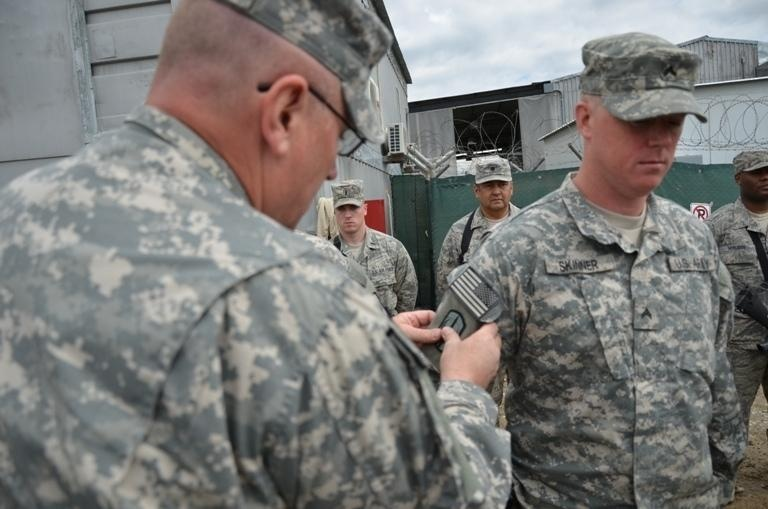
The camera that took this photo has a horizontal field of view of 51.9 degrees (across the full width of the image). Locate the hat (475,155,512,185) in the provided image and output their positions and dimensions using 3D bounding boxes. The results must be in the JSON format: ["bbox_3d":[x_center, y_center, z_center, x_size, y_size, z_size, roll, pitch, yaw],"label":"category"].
[{"bbox_3d":[0.952,-0.734,6.930,0.379,0.191,0.592,-4,9,5],"label":"hat"}]

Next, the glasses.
[{"bbox_3d":[-0.207,-0.429,2.705,0.068,0.246,0.236,-36,18,-15],"label":"glasses"}]
